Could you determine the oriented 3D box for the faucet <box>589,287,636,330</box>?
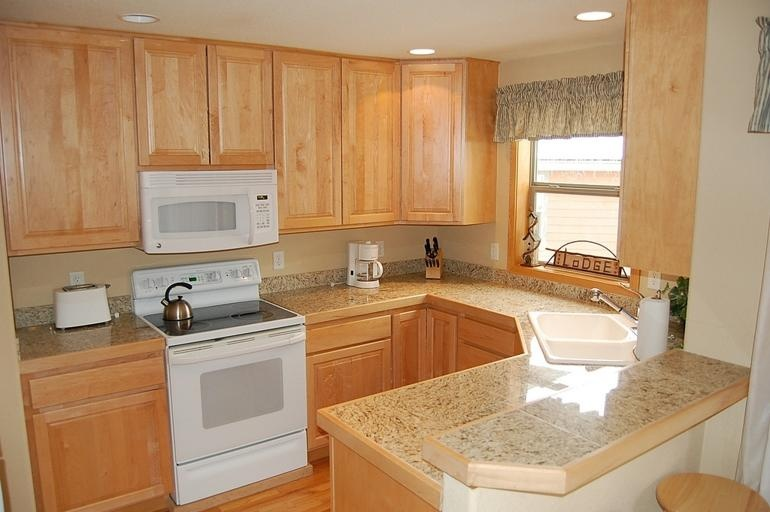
[{"bbox_3d":[1.458,0.345,3.457,0.089,0.145,0.428,-13,37,-38],"label":"faucet"}]

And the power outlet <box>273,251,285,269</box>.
[{"bbox_3d":[-0.834,0.030,4.226,0.144,0.186,0.017,-4,10,-38],"label":"power outlet"}]

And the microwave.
[{"bbox_3d":[-1.165,-0.307,3.572,0.943,0.549,0.579,-5,9,-34],"label":"microwave"}]

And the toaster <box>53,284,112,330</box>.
[{"bbox_3d":[-1.874,0.322,3.361,0.327,0.255,0.252,-7,15,-32],"label":"toaster"}]

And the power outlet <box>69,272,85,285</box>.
[{"bbox_3d":[-2.037,0.150,3.576,0.089,0.110,0.013,-4,6,-41],"label":"power outlet"}]

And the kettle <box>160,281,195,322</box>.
[{"bbox_3d":[-1.363,0.304,3.568,0.265,0.243,0.197,0,6,23],"label":"kettle"}]

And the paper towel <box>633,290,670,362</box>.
[{"bbox_3d":[1.347,0.337,2.753,0.119,0.283,0.129,-4,5,-1],"label":"paper towel"}]

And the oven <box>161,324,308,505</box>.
[{"bbox_3d":[-0.905,0.927,4.059,1.209,1.317,1.012,-4,6,-35],"label":"oven"}]
